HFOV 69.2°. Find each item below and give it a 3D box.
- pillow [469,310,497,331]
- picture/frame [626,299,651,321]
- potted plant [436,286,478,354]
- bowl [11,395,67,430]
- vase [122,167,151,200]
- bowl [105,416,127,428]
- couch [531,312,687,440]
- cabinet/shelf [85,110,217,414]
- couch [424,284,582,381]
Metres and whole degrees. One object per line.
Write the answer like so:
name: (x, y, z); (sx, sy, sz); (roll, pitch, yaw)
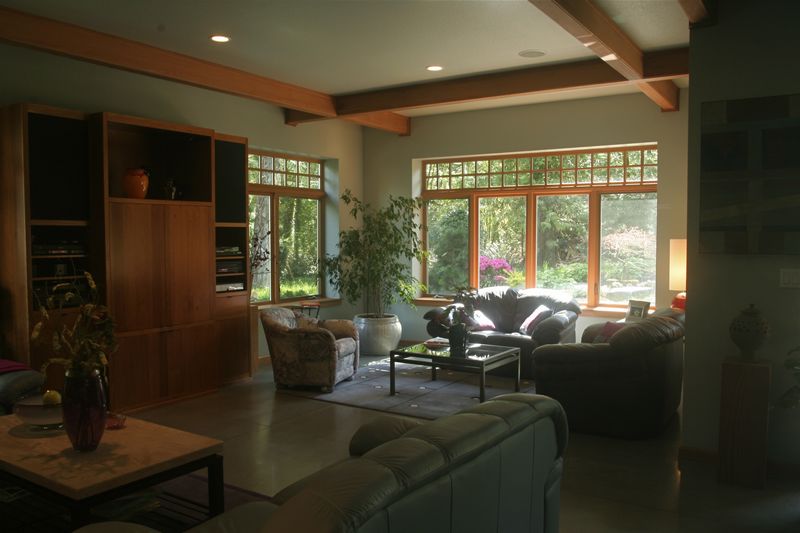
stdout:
pillow: (1.117, 0.771, 8.062); (0.309, 0.072, 0.288); (11, 11, 36)
picture/frame: (2.832, 0.519, 6.914); (0.265, 0.343, 0.029); (1, -31, 40)
potted plant: (0.751, 0.672, 7.458); (0.651, 1.038, 0.721); (1, -3, -10)
bowl: (-2.637, 1.070, 4.255); (0.354, 0.158, 0.342); (0, -3, 0)
vase: (-2.906, -0.941, 6.550); (0.334, 0.372, 0.325); (-1, -6, 1)
bowl: (-2.143, 1.173, 4.381); (0.107, 0.050, 0.087); (0, 2, 24)
couch: (1.919, 1.068, 6.267); (1.212, 1.026, 1.568); (2, -2, 10)
cabinet/shelf: (-2.777, -0.096, 6.728); (1.308, 2.799, 0.661); (-1, 1, -30)
couch: (1.433, 0.930, 8.010); (1.937, 1.083, 1.126); (1, 5, 40)
